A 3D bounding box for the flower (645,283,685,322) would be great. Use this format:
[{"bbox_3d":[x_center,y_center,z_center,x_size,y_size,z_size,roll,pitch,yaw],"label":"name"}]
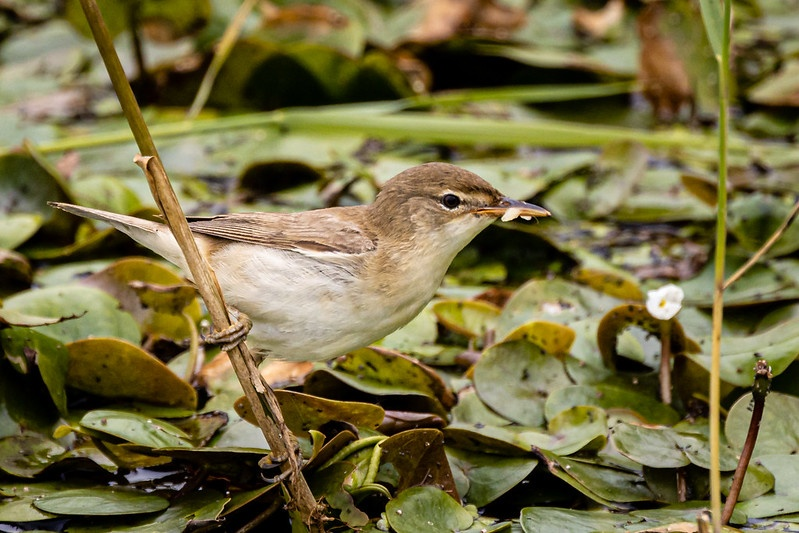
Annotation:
[{"bbox_3d":[1.127,0.160,3.354,0.135,0.136,0.161,1,30,-1],"label":"flower"}]
